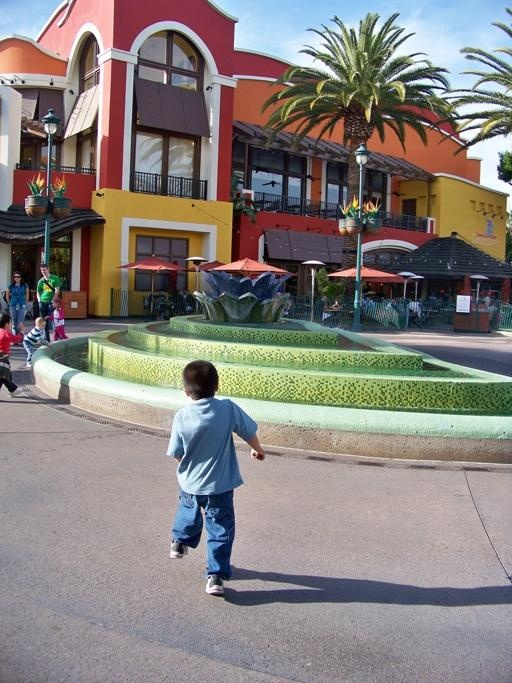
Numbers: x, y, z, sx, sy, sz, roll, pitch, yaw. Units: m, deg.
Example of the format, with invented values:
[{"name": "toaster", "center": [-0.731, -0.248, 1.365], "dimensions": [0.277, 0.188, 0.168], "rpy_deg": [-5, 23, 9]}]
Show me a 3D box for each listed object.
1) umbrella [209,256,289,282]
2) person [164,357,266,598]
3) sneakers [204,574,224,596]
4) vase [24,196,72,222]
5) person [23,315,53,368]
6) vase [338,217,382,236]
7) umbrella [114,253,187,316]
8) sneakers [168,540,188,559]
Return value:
[{"name": "umbrella", "center": [-0.535, -2.449, 20.245], "dimensions": [2.075, 0.699, 2.146], "rpy_deg": [2, 9, 19]}, {"name": "person", "center": [-0.198, 0.636, 2.830], "dimensions": [0.397, 1.088, 0.261], "rpy_deg": [5, 5, 3]}, {"name": "sneakers", "center": [-0.179, 1.118, 2.783], "dimensions": [0.056, 0.055, 0.128], "rpy_deg": [2, -5, -6]}, {"name": "vase", "center": [-4.884, -3.069, 14.217], "dimensions": [0.834, 0.373, 0.577], "rpy_deg": [0, 10, 2]}, {"name": "person", "center": [-3.719, -0.006, 10.157], "dimensions": [0.449, 0.811, 0.343], "rpy_deg": [3, 21, -21]}, {"name": "vase", "center": [2.942, -3.327, 17.819], "dimensions": [0.578, 0.324, 0.763], "rpy_deg": [0, 0, -7]}, {"name": "umbrella", "center": [-3.923, -2.794, 23.215], "dimensions": [2.407, 2.166, 2.348], "rpy_deg": [0, 2, -2]}, {"name": "sneakers", "center": [-0.381, 1.020, 3.012], "dimensions": [0.064, 0.076, 0.172], "rpy_deg": [2, -2, 7]}]
